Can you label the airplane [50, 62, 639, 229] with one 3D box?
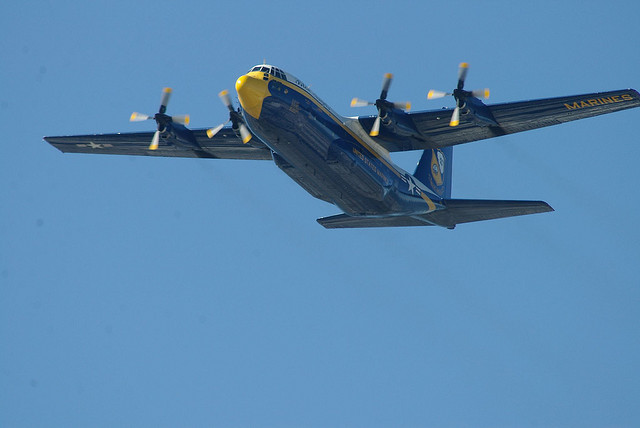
[{"bbox_3d":[2.117,-2.834,61.366,15.553,4.402,11.108,-9,-29,27],"label":"airplane"}]
